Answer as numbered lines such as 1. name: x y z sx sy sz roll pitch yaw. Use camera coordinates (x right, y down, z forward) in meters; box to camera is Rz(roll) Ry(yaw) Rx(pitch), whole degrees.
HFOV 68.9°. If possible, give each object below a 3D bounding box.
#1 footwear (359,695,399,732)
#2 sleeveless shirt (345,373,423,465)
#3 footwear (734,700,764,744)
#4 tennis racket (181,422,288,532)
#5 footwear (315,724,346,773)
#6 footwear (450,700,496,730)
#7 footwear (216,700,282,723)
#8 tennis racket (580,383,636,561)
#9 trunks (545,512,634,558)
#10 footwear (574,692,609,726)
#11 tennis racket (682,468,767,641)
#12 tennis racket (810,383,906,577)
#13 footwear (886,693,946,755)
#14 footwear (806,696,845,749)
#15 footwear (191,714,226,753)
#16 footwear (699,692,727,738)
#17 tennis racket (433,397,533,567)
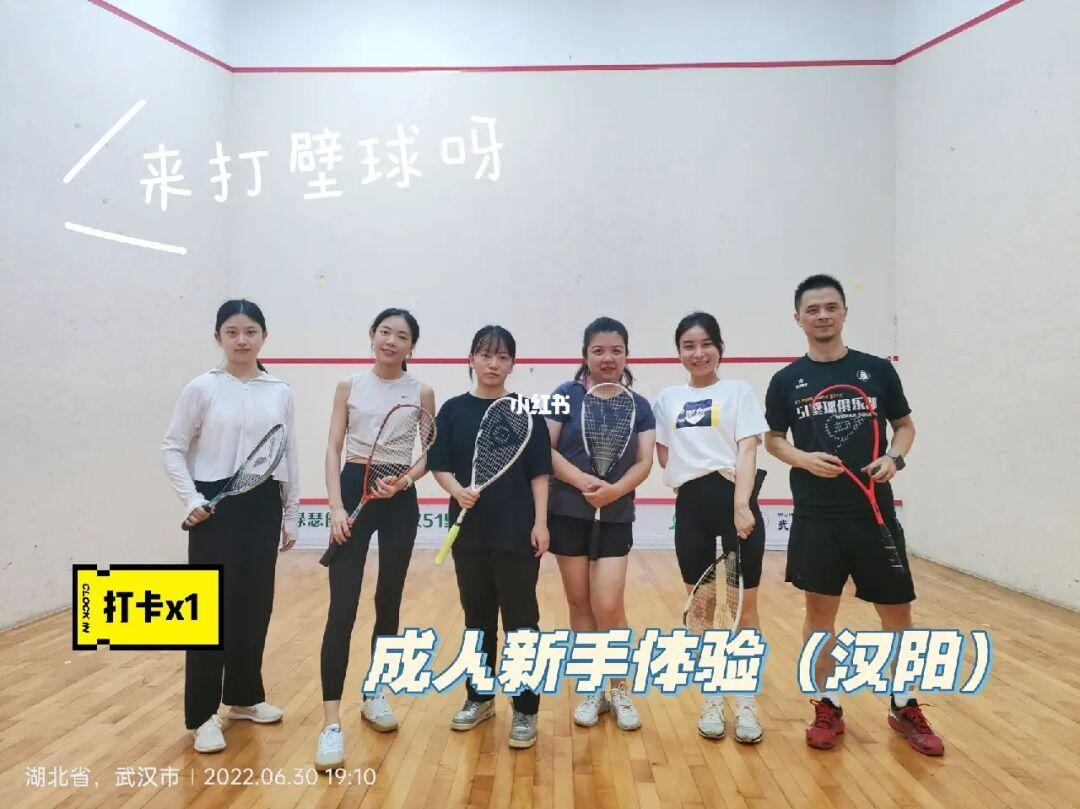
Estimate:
1. footwear: -0.819 1.567 3.954 0.099 0.111 0.247 3 -10 -31
2. sleeveless shirt: -0.808 0.088 3.969 0.345 0.464 0.243 11 -3 -3
3. footwear: 1.028 1.571 3.892 0.134 0.171 0.172 2 9 15
4. tennis racket: -1.502 0.343 3.797 0.583 0.224 0.060 -52 0 -38
5. footwear: -0.983 1.618 3.658 0.092 0.105 0.238 2 -9 -7
6. footwear: -0.343 1.572 3.981 0.092 0.124 0.258 -6 -10 29
7. footwear: -1.487 1.555 4.001 0.272 0.118 0.115 -1 -9 7
8. tennis racket: 0.335 0.144 3.895 0.268 0.475 0.158 0 9 4
9. trunks: 0.246 0.667 3.903 0.383 0.228 0.283 3 10 6
10. footwear: 0.243 1.564 3.998 0.094 0.110 0.230 -9 -15 12
11. tennis racket: 0.862 0.777 3.850 0.435 0.839 0.614 2 9 14
12. tennis racket: 1.565 0.328 3.904 0.307 1.064 0.053 -12 -10 -8
13. footwear: 1.833 1.587 3.841 0.112 0.163 0.345 -5 -9 -6
14. footwear: 1.381 1.580 3.846 0.125 0.143 0.285 -2 -9 16
15. footwear: -1.617 1.607 3.818 0.147 0.135 0.174 -4 10 -24
16. footwear: 0.859 1.576 3.942 0.130 0.156 0.161 2 9 14
17. tennis racket: -0.251 0.307 3.816 0.305 1.025 0.048 22 -8 13
